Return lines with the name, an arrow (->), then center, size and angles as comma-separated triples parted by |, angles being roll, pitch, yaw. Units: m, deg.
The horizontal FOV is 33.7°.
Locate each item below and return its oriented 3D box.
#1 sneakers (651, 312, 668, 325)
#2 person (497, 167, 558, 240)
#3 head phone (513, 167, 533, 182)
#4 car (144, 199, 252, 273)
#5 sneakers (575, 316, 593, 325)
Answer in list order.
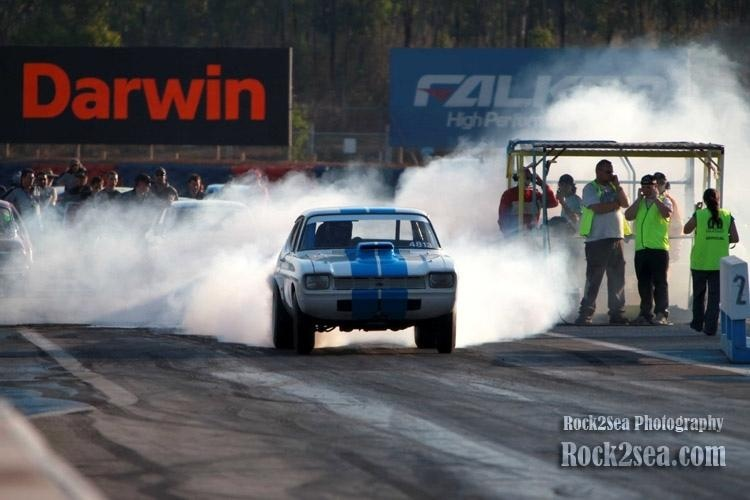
sneakers -> 4.683, 1.148, 20.177 | 0.243, 0.175, 0.170 | -5, 0, 31
person -> 2.795, -0.796, 22.342 | 1.155, 0.714, 2.326 | 21, -1, 5
head phone -> 2.674, -1.362, 22.289 | 0.309, 0.212, 0.215 | 0, 7, 14
car -> -3.225, -0.288, 21.494 | 0.934, 0.710, 1.696 | -2, 11, -19
sneakers -> 3.436, 1.173, 20.181 | 0.249, 0.106, 0.116 | -6, 11, 3
